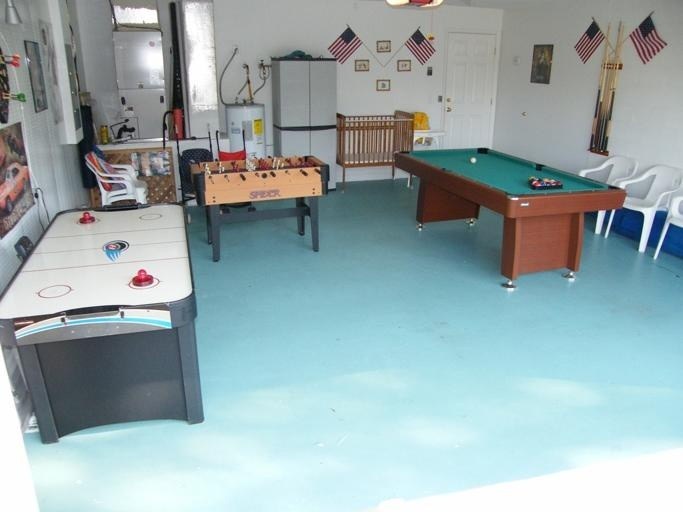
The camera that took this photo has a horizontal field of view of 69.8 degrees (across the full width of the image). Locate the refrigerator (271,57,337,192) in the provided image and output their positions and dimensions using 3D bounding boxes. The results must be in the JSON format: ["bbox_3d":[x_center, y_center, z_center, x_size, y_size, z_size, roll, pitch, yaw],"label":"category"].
[{"bbox_3d":[-0.740,-2.400,8.862,1.073,2.025,1.026,-2,17,-15],"label":"refrigerator"}]

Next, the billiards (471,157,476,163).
[{"bbox_3d":[1.839,-1.318,6.741,0.094,0.042,0.092,-7,34,-12],"label":"billiards"}]

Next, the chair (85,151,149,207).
[{"bbox_3d":[-2.973,-1.035,6.475,0.633,0.692,0.805,-8,21,-18],"label":"chair"}]

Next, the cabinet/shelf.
[{"bbox_3d":[-0.638,-2.261,8.568,1.129,2.232,0.524,-5,21,-10],"label":"cabinet/shelf"}]

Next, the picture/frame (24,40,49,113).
[{"bbox_3d":[-2.889,-1.681,4.616,0.117,0.620,0.468,-9,22,-21],"label":"picture/frame"}]

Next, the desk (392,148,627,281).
[{"bbox_3d":[1.974,-0.626,6.401,1.591,1.087,2.700,-8,24,-19],"label":"desk"}]

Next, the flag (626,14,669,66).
[{"bbox_3d":[4.350,-3.041,6.879,0.115,0.645,0.556,-6,21,-13],"label":"flag"}]
